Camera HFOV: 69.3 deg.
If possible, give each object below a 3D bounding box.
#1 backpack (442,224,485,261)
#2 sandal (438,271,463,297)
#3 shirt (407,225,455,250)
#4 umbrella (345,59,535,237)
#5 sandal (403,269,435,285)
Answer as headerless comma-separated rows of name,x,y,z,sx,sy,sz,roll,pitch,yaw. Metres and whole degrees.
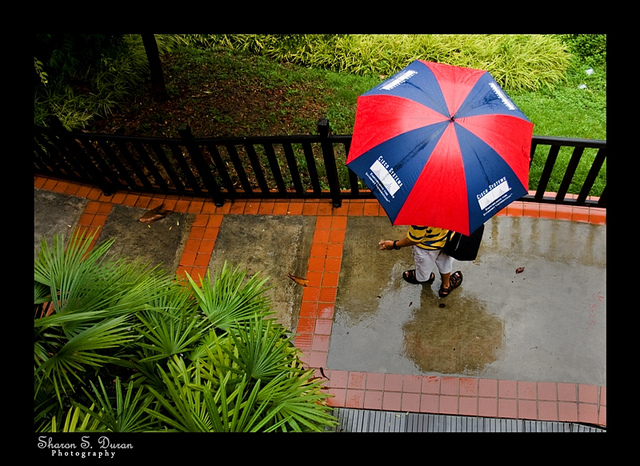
backpack,1.359,0.047,4.512,0.349,0.640,0.366,3,95,-10
sandal,1.494,0.552,5.188,0.142,0.166,0.384,43,100,14
shirt,1.055,0.036,4.408,0.406,0.380,0.231,-4,65,6
umbrella,1.060,-0.777,4.142,1.585,0.486,1.527,9,63,14
sandal,1.146,0.518,5.374,0.311,0.132,0.149,5,64,6
